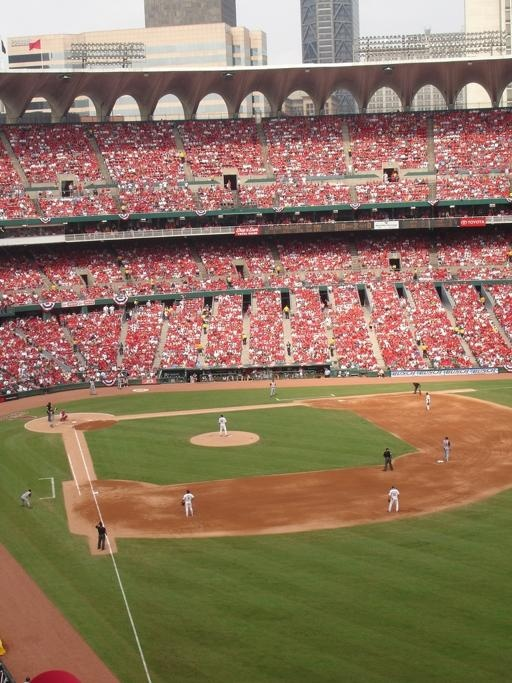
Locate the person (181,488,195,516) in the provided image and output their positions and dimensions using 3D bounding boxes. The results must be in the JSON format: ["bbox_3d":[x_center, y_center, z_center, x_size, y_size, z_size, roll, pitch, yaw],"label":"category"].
[{"bbox_3d":[-2.556,5.863,32.864,0.430,0.960,1.679,-4,2,-5],"label":"person"}]

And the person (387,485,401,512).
[{"bbox_3d":[5.000,5.673,32.702,0.432,0.900,1.982,-3,2,8],"label":"person"}]
